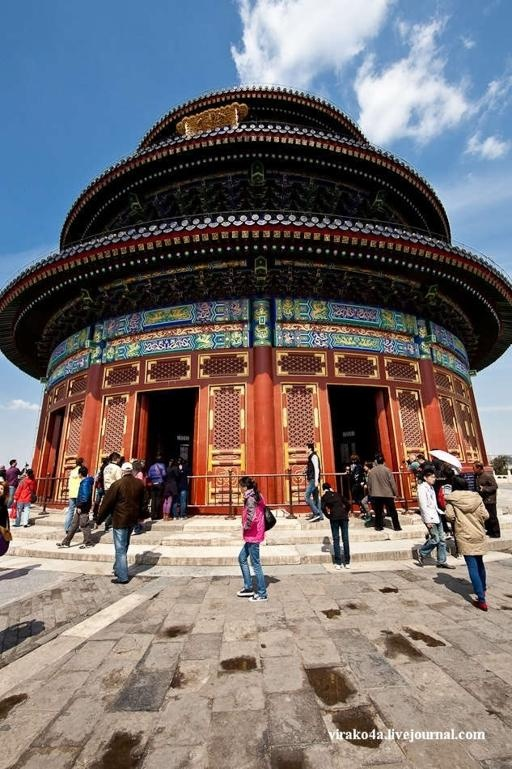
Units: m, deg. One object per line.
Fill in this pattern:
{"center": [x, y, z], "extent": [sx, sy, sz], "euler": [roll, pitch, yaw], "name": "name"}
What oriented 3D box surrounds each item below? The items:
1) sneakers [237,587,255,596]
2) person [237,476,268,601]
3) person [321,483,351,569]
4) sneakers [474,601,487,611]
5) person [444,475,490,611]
{"center": [-0.114, 1.889, 6.015], "extent": [0.137, 0.090, 0.099], "euler": [1, -22, 8], "name": "sneakers"}
{"center": [-0.054, 1.508, 6.289], "extent": [0.316, 1.287, 0.969], "euler": [-2, -21, -1], "name": "person"}
{"center": [1.040, 1.524, 7.409], "extent": [0.339, 1.056, 1.030], "euler": [-5, -24, 10], "name": "person"}
{"center": [2.196, 1.855, 5.553], "extent": [0.046, 0.095, 0.170], "euler": [0, -12, 1], "name": "sneakers"}
{"center": [2.192, 1.441, 5.888], "extent": [0.394, 1.263, 0.413], "euler": [12, -21, -42], "name": "person"}
